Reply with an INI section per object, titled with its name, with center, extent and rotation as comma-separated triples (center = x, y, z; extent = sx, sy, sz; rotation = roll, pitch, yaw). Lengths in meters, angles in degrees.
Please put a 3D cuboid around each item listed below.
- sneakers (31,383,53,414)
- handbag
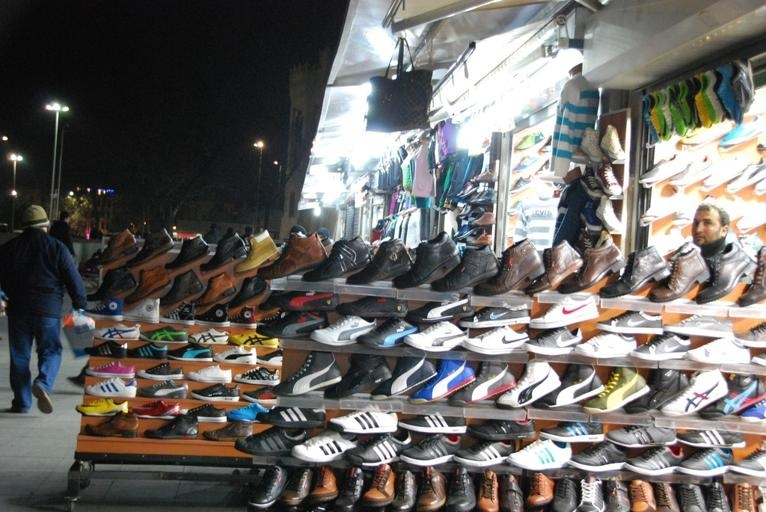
[sneakers]
center = -3.118, 1.302, 5.260
extent = 0.156, 0.302, 0.273
rotation = 1, -4, -9
[handbag]
center = 0.156, -1.550, 5.993
extent = 0.823, 0.632, 0.211
rotation = 3, -8, 29
